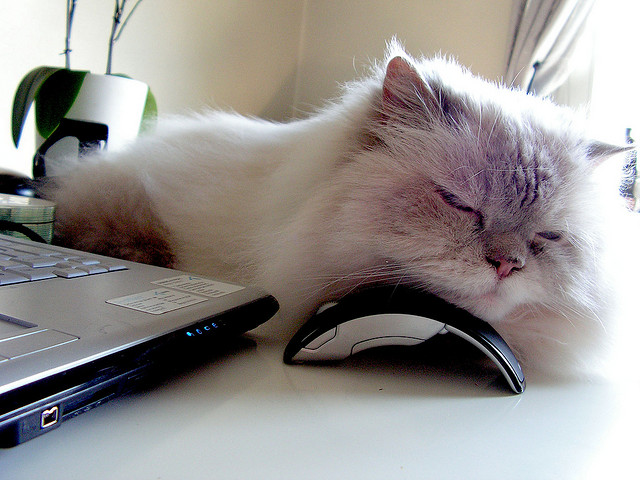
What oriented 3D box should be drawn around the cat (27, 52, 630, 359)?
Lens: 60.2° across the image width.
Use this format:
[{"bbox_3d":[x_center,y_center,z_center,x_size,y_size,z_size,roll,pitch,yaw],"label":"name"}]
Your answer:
[{"bbox_3d":[0.002,-0.063,0.736,0.582,0.270,0.484,18,10,37],"label":"cat"}]
